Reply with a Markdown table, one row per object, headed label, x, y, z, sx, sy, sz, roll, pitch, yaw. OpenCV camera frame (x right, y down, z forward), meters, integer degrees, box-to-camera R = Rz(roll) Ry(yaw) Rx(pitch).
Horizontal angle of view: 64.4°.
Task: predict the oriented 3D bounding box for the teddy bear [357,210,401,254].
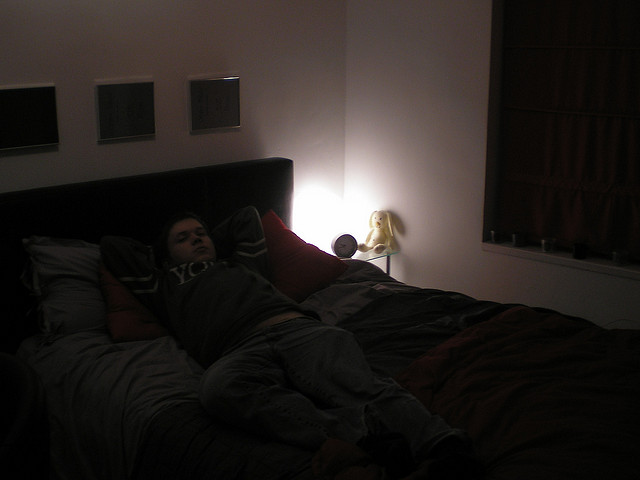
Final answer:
| label | x | y | z | sx | sy | sz | roll | pitch | yaw |
| --- | --- | --- | --- | --- | --- | --- | --- | --- | --- |
| teddy bear | 0.481 | -0.080 | 4.024 | 0.305 | 0.441 | 0.346 | 6 | 3 | 34 |

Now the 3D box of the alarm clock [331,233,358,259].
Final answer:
| label | x | y | z | sx | sy | sz | roll | pitch | yaw |
| --- | --- | --- | --- | --- | --- | --- | --- | --- | --- |
| alarm clock | 0.182 | 0.040 | 3.784 | 0.196 | 0.183 | 0.139 | 0 | 7 | 3 |

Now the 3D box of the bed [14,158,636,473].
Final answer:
| label | x | y | z | sx | sy | sz | roll | pitch | yaw |
| --- | --- | --- | --- | --- | --- | --- | --- | --- | --- |
| bed | -0.137 | 0.450 | 2.222 | 2.130 | 0.690 | 1.583 | 18 | 25 | 40 |
